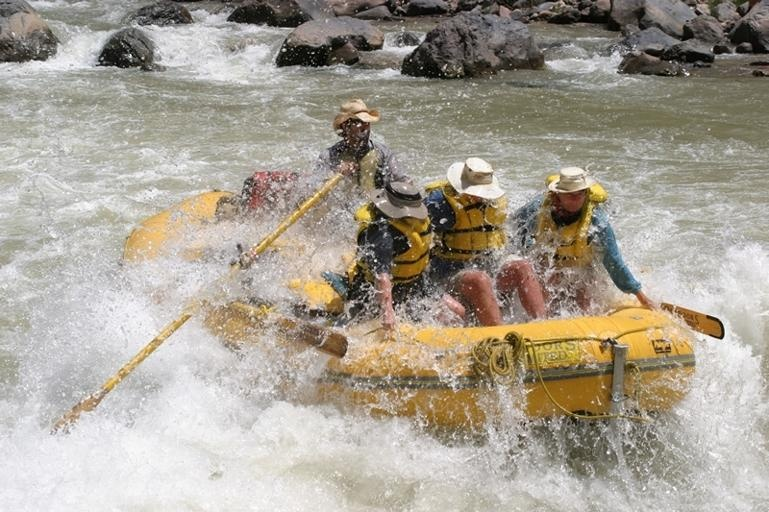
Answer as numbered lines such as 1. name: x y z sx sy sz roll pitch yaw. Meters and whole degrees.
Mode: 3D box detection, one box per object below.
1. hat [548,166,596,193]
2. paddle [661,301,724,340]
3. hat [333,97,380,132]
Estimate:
1. hat: 2.468 -0.960 15.171 0.616 0.399 0.363 10 34 13
2. paddle: 4.101 0.842 15.176 0.080 0.256 1.229 8 8 -27
3. hat: -0.471 -2.049 16.584 0.466 0.592 0.301 -1 75 -19
